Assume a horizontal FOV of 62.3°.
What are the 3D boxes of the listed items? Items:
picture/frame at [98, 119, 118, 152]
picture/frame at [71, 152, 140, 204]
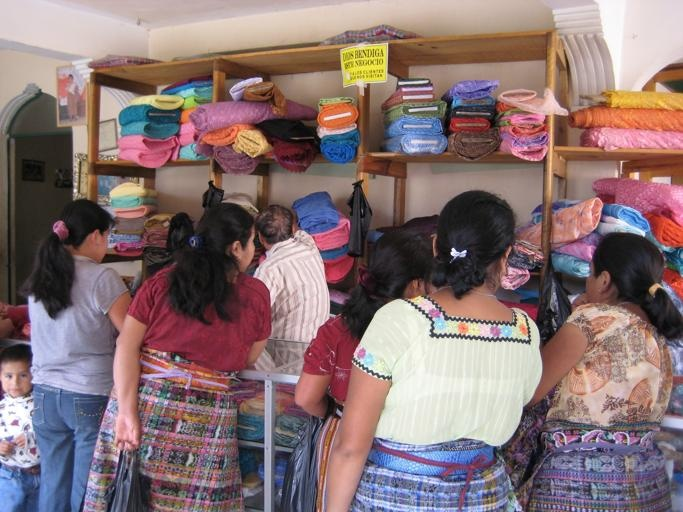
[{"bbox_3d":[-2.027,-1.024,4.850,0.252,0.248,0.014,-3,1,26],"label":"picture/frame"},{"bbox_3d":[-1.969,-0.584,4.806,0.783,0.491,0.020,15,26,19],"label":"picture/frame"}]
